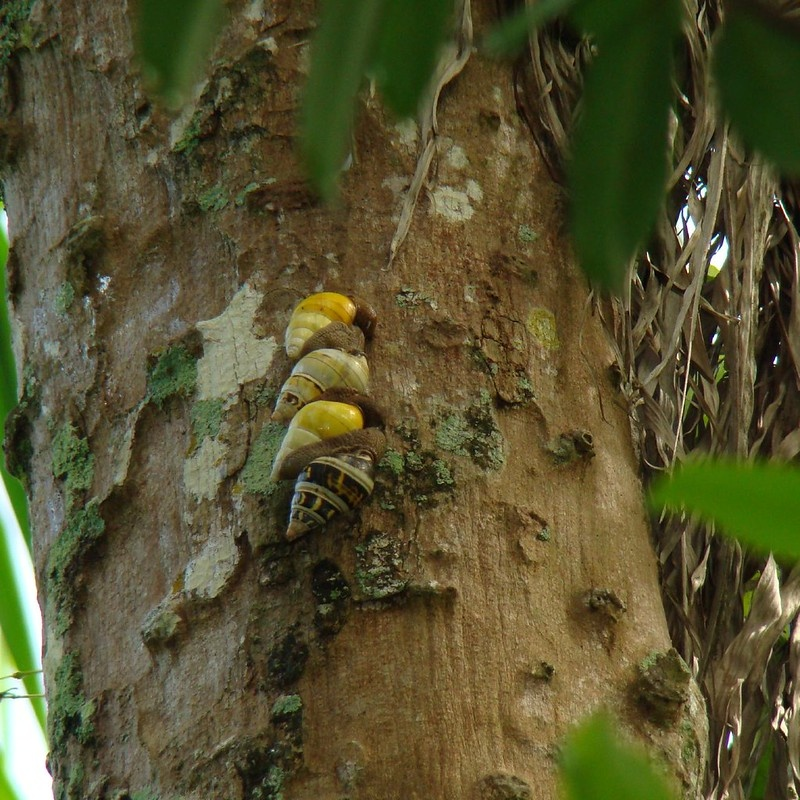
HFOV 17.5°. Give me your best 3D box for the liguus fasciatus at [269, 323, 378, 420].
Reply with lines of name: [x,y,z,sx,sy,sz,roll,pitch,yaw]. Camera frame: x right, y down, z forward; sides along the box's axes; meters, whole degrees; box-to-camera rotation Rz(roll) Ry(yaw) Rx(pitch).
liguus fasciatus: [-0.109,-0.037,3.670,0.166,0.093,0.078,-53,-14,-15]

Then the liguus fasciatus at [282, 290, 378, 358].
liguus fasciatus: [-0.104,-0.113,3.702,0.125,0.081,0.052,-34,-10,-27]

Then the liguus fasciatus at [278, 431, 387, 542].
liguus fasciatus: [-0.098,0.109,3.618,0.174,0.089,0.062,-55,-10,-16]
